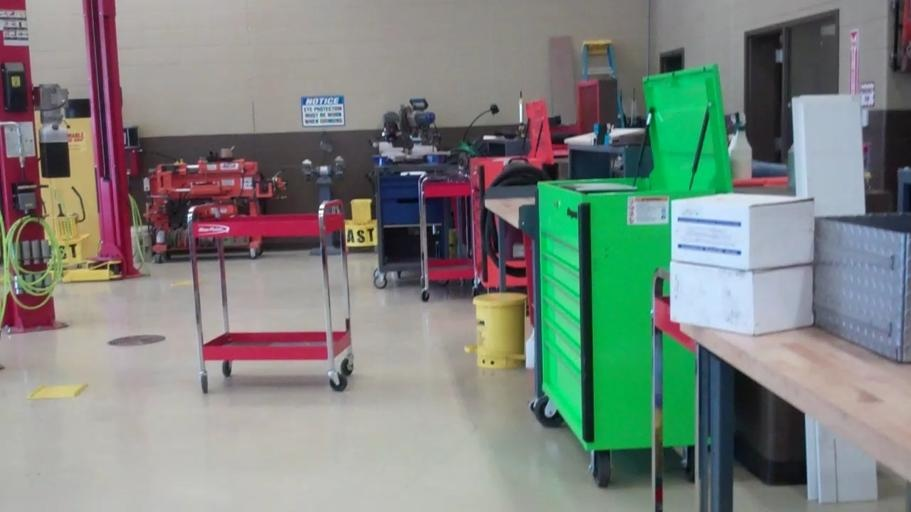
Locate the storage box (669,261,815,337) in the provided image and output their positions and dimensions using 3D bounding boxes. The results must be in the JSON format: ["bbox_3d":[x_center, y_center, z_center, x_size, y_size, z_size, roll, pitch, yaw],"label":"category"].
[{"bbox_3d":[1.570,0.226,4.505,0.507,0.292,0.498,-1,3,-19],"label":"storage box"}]

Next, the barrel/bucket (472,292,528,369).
[{"bbox_3d":[0.413,0.638,7.124,0.634,0.624,0.526,-2,6,-4],"label":"barrel/bucket"}]

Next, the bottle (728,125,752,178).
[{"bbox_3d":[2.035,-0.729,5.766,0.147,0.355,0.318,-1,12,20],"label":"bottle"}]

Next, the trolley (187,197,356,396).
[{"bbox_3d":[-1.638,0.314,7.099,1.279,1.501,0.920,-2,2,3],"label":"trolley"}]

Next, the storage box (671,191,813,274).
[{"bbox_3d":[1.571,-0.179,4.472,0.512,0.303,0.502,-3,6,-28],"label":"storage box"}]
